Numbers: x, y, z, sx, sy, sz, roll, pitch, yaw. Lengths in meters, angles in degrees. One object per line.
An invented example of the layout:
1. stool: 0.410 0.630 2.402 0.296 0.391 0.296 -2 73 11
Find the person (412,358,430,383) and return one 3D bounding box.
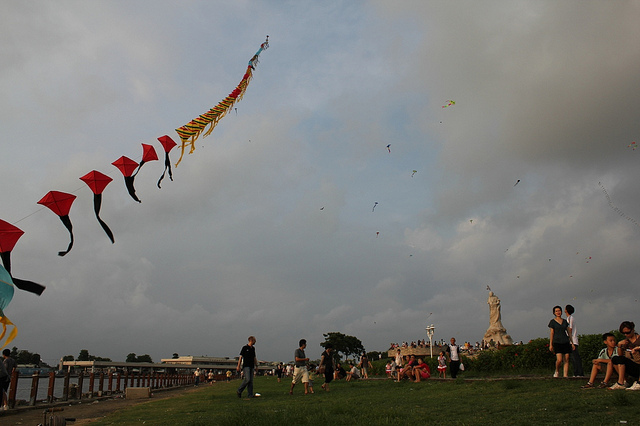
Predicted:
1. person: 5.757 9.196 27.710 1.062 1.420 0.668 -4 -52 19

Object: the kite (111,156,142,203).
1. kite: -8.519 -1.402 21.721 0.981 2.276 1.201 -1 12 41

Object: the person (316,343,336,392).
1. person: 0.336 8.884 27.827 1.080 2.477 0.729 3 -13 -20

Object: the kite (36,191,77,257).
1. kite: -10.848 0.435 20.291 1.564 2.726 1.604 -7 3 -7
